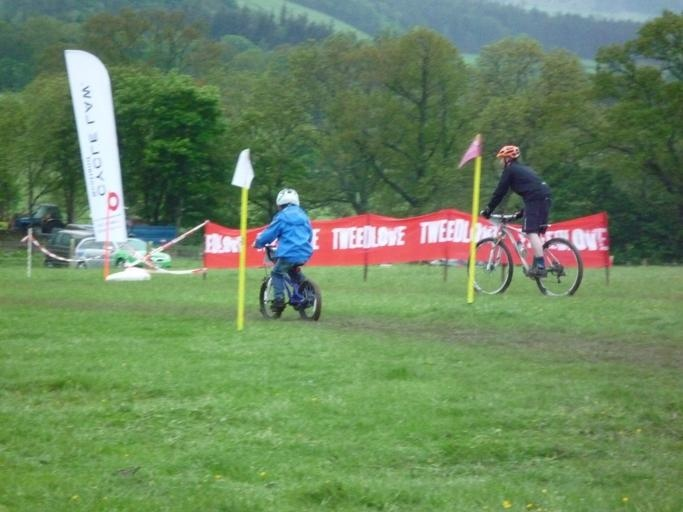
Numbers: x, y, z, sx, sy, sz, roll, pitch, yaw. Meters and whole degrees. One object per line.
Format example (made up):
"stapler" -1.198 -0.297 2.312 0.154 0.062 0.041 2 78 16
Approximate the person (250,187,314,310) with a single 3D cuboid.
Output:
"person" -1.348 -0.103 25.041 1.258 2.968 0.581 0 -1 -2

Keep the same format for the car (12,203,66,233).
"car" -17.301 -2.147 60.587 3.451 1.473 1.736 0 6 -4
